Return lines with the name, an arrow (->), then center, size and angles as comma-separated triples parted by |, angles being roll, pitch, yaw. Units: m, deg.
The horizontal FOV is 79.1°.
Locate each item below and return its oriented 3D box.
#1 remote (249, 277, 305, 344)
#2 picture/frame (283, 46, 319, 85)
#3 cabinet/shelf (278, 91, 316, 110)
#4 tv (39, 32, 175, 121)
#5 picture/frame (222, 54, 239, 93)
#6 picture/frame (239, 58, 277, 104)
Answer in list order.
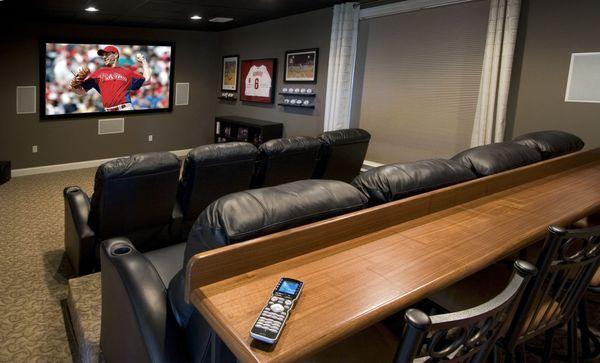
remote -> -0.118, 0.641, 1.798 | 0.156, 0.058, 0.346 | 9, 39, 23
picture/frame -> 0.021, -2.129, 6.720 | 0.164, 0.604, 0.813 | -12, 18, -38
cabinet/shelf -> -0.081, -1.543, 6.861 | 0.235, 0.293, 0.931 | -10, 16, -34
tv -> -3.954, -2.143, 7.243 | 2.336, 1.194, 0.055 | -8, 20, -34
picture/frame -> -1.570, -2.488, 8.247 | 0.057, 0.906, 0.867 | -10, 22, -39
picture/frame -> -0.839, -2.112, 7.543 | 0.131, 0.902, 1.135 | -4, 11, -39
